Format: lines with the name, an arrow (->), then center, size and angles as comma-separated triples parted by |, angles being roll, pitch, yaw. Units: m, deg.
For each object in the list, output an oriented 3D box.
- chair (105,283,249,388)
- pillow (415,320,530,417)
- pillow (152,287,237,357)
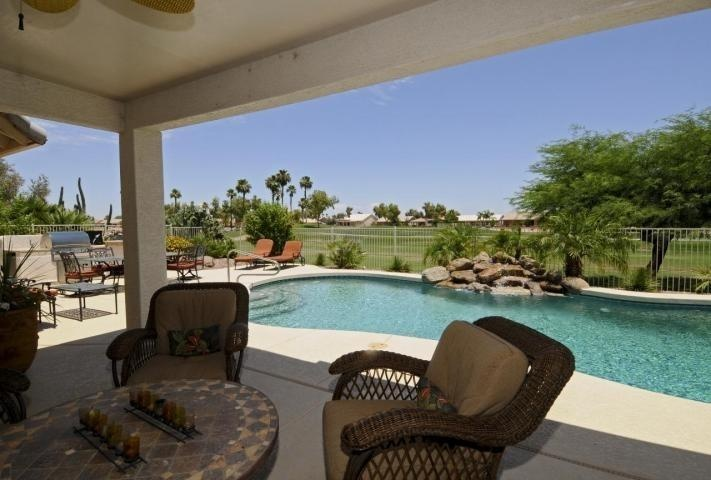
chair -> -1.819, 0.925, 4.672 | 1.313, 1.175, 1.318 | 1, -4, -2
pillow -> 1.001, 1.075, 3.347 | 0.502, 0.738, 0.868 | 18, 2, -14
pillow -> -1.843, 0.913, 4.560 | 0.816, 0.690, 0.263 | -3, -13, -7
